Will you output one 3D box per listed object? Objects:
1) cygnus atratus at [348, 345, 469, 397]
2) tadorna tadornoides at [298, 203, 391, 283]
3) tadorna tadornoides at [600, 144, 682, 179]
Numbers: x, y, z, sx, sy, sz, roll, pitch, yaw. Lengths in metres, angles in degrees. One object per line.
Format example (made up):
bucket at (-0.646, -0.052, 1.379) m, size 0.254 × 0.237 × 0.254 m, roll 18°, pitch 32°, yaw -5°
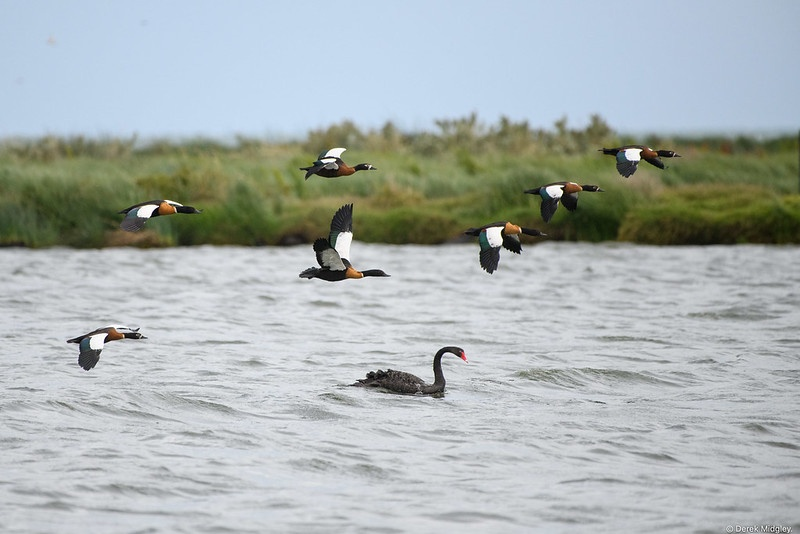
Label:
cygnus atratus at (0.121, 1.951, 17.791) m, size 2.030 × 0.789 × 0.666 m, roll -2°, pitch 6°, yaw -17°
tadorna tadornoides at (-0.963, -0.170, 16.650) m, size 1.660 × 0.952 × 2.531 m, roll 12°, pitch 5°, yaw 7°
tadorna tadornoides at (4.341, -1.973, 17.330) m, size 1.148 × 0.586 × 2.406 m, roll 1°, pitch 6°, yaw 16°
